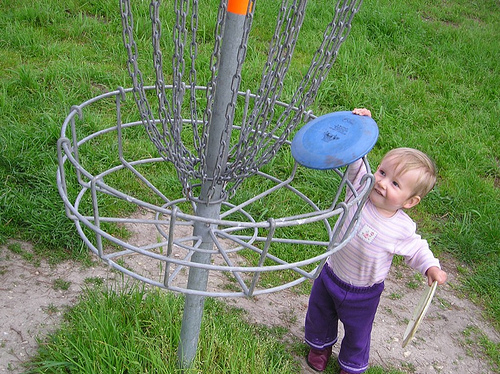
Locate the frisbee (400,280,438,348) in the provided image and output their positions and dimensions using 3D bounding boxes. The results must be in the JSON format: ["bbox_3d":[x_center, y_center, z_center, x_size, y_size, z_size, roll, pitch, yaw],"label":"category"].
[{"bbox_3d":[0.990,0.764,2.872,0.051,0.469,0.459,24,26,15],"label":"frisbee"}]
